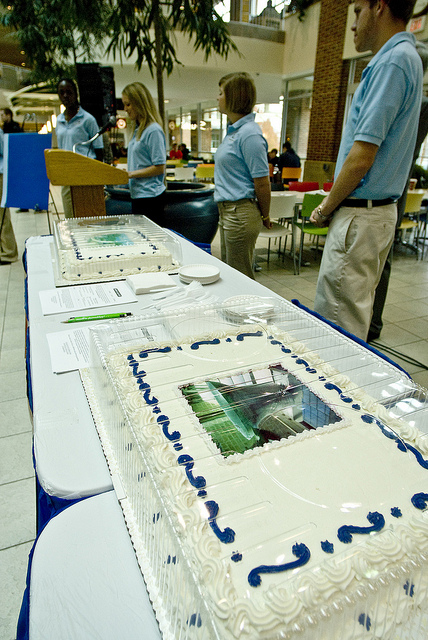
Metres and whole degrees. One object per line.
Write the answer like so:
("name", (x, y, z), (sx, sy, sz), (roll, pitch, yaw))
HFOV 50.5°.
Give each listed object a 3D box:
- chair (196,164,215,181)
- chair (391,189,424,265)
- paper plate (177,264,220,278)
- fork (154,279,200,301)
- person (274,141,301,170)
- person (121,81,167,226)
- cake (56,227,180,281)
("chair", (-0.174, -2.696, 8.224), (0.309, 0.247, 0.690), (0, 18, -3))
("chair", (2.042, -0.985, 4.698), (0.307, 0.696, 1.376), (8, 19, 20))
("paper plate", (-0.060, -0.178, 1.655), (0.140, 0.019, 0.174), (-9, 20, -28))
("fork", (-0.126, -0.095, 1.490), (0.156, 0.024, 0.028), (-22, 67, -14))
("person", (1.349, -2.976, 8.215), (0.347, 0.500, 1.460), (3, 18, 8))
("person", (-0.422, -1.004, 2.776), (0.249, 0.837, 0.499), (-2, 18, -9))
("cake", (-0.413, -0.286, 1.894), (0.458, 0.117, 0.530), (-5, 19, -19))
